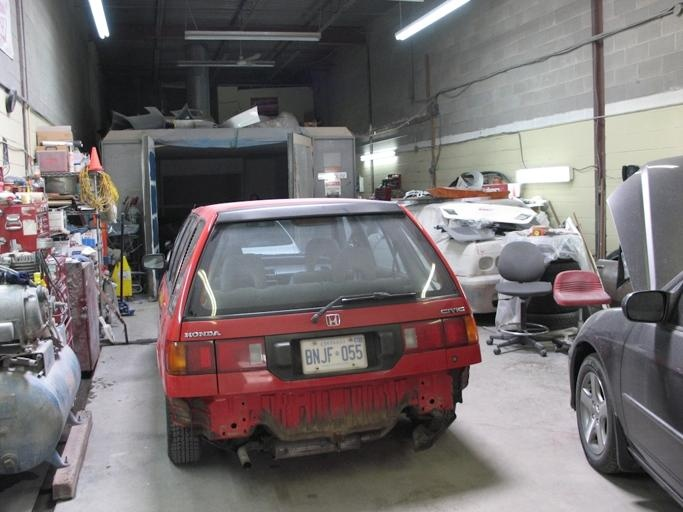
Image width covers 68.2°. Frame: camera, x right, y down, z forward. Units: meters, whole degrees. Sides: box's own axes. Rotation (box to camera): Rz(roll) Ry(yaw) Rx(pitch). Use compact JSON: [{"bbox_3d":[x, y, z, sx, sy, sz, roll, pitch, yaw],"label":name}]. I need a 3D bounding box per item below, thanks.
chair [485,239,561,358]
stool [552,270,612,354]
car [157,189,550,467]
[{"bbox_3d":[2.043,0.446,5.712,0.776,1.188,0.765,-4,6,-28],"label":"chair"},{"bbox_3d":[2.368,0.400,5.039,0.424,0.535,0.419,-2,4,1],"label":"stool"},{"bbox_3d":[-0.246,0.257,3.729,1.255,1.007,2.125,-2,11,-11],"label":"car"}]
